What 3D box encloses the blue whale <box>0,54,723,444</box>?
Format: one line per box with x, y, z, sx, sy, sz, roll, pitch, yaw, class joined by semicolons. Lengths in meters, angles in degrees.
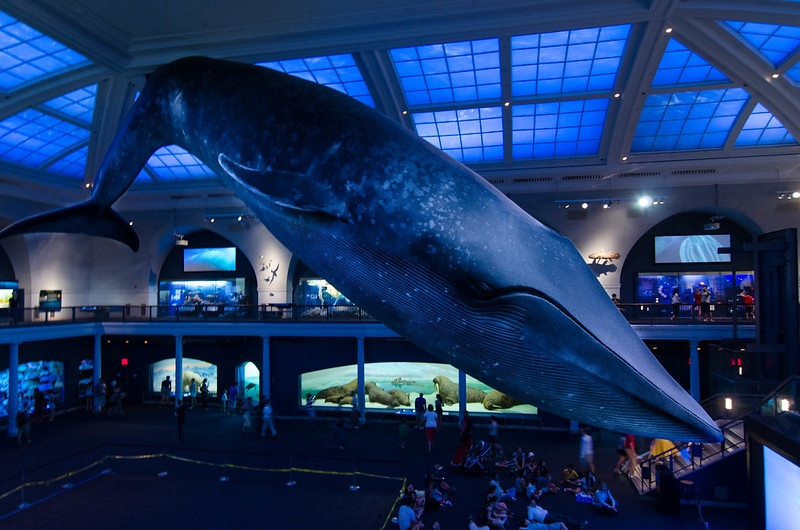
0.509;-0.044;15.058;16.769;5.293;6.108;30;30;15;blue whale
